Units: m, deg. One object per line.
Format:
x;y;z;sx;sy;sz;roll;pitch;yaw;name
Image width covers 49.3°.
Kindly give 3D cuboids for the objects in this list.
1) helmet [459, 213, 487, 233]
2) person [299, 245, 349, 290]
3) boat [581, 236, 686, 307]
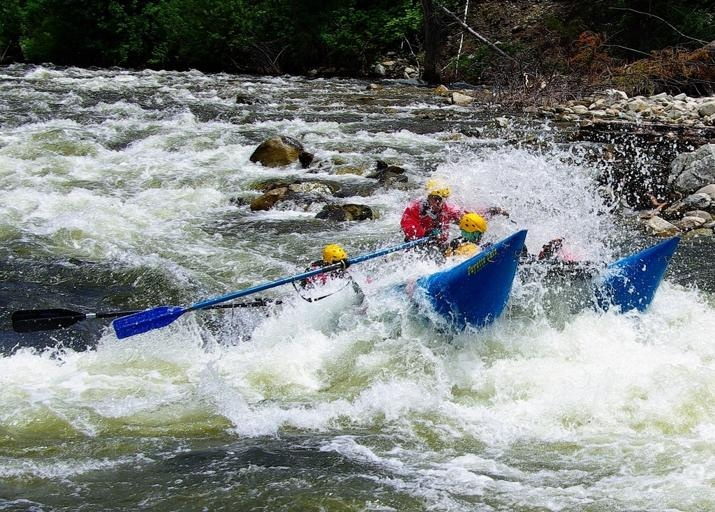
1.620;-0.471;11.025;0.417;0.195;0.257;22;13;8;helmet
-0.579;0.118;11.220;0.524;0.909;0.322;40;34;-57;person
3.682;0.221;10.427;0.802;1.060;0.529;14;27;12;boat
